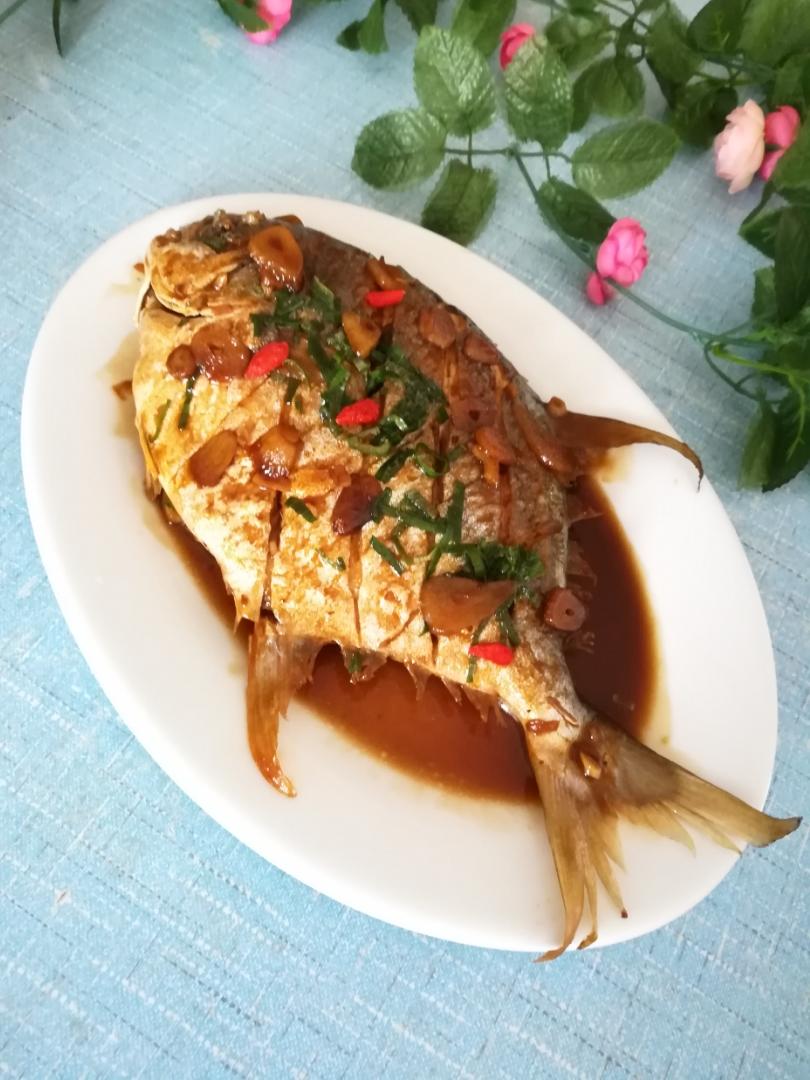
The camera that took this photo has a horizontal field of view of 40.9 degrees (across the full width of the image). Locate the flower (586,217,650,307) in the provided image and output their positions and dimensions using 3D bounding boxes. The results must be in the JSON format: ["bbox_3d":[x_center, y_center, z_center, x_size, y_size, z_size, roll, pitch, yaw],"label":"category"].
[{"bbox_3d":[0.441,-0.591,2.316,0.106,0.201,0.109,-22,82,2],"label":"flower"}]
